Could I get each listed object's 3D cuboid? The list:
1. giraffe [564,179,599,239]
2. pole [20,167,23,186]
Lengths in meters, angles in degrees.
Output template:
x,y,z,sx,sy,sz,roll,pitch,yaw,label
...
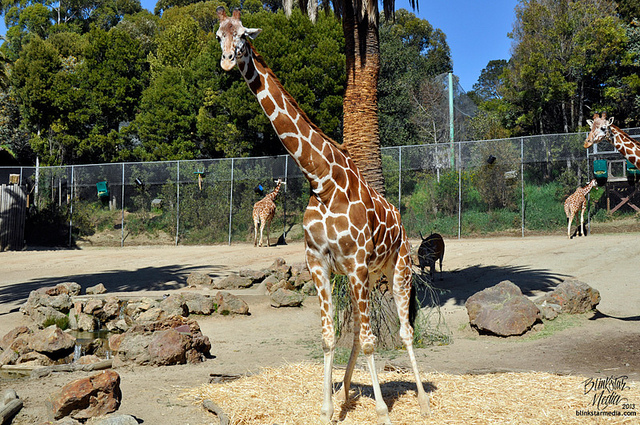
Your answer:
x,y,z,sx,sy,sz,roll,pitch,yaw,label
12.145,-0.181,31.479,1.179,2.733,2.184,-2,-1,40,giraffe
-16.916,-2.048,37.715,0.146,0.984,0.281,-1,-1,-25,pole
